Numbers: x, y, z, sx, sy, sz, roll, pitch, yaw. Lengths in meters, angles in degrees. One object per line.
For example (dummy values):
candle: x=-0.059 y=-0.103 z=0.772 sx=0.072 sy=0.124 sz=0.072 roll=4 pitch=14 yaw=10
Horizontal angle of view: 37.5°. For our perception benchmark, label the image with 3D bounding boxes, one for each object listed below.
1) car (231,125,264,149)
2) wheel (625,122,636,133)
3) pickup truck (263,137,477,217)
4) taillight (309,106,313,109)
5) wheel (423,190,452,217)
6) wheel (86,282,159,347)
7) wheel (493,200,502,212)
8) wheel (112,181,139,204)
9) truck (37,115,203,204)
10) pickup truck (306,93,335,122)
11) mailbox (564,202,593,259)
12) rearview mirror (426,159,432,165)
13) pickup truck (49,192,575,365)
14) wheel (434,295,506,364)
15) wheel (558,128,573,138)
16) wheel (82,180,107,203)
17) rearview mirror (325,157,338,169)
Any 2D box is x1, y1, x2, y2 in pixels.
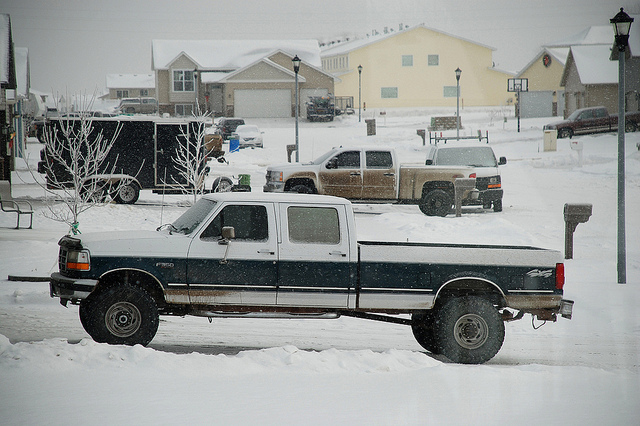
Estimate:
car: x=-4.316 y=-4.659 z=57.605 sx=1.603 sy=1.229 sz=2.250 roll=2 pitch=8 yaw=-9
wheel: x=18.465 y=-5.140 z=56.014 sx=0.550 sy=0.569 sz=0.531 roll=3 pitch=7 yaw=0
pickup truck: x=1.906 y=-1.260 z=32.892 sx=9.703 sy=3.835 sz=3.325 roll=1 pitch=3 yaw=11
taillight: x=-0.685 y=-8.553 z=75.861 sx=0.195 sy=0.122 sz=0.299 roll=-1 pitch=1 yaw=-4
wheel: x=3.971 y=-0.362 z=32.090 sx=0.741 sy=0.859 sz=0.283 roll=-3 pitch=2 yaw=3
wheel: x=-4.068 y=2.087 z=19.440 sx=1.447 sy=1.185 sz=0.354 roll=2 pitch=7 yaw=-11
wheel: x=6.421 y=-0.279 z=34.110 sx=0.361 sy=0.415 sz=0.378 roll=0 pitch=5 yaw=0
wheel: x=-6.902 y=-0.765 z=33.370 sx=0.680 sy=0.784 sz=0.276 roll=0 pitch=9 yaw=-7
truck: x=-6.770 y=-1.481 z=32.393 sx=5.061 sy=3.144 sz=3.134 roll=-1 pitch=10 yaw=-13
pickup truck: x=0.153 y=-8.737 z=77.485 sx=2.065 sy=2.409 sz=3.892 roll=-1 pitch=12 yaw=0
mailbox: x=7.357 y=0.408 z=27.216 sx=0.634 sy=1.793 sz=0.672 roll=2 pitch=-1 yaw=-3
rearview mirror: x=4.030 y=-1.913 z=34.861 sx=0.156 sy=0.219 sz=0.227 roll=1 pitch=2 yaw=4
pickup truck: x=-0.048 y=0.420 z=21.496 sx=11.426 sy=4.015 sz=4.345 roll=2 pitch=31 yaw=-11
wheel: x=3.176 y=2.441 z=19.872 sx=1.304 sy=1.514 sz=0.502 roll=2 pitch=9 yaw=8
wheel: x=15.007 y=-4.918 z=57.568 sx=0.599 sy=0.693 sz=0.188 roll=4 pitch=-3 yaw=-4
wheel: x=-7.468 y=-0.752 z=31.270 sx=0.691 sy=0.786 sz=0.272 roll=-2 pitch=-2 yaw=-25
rearview mirror: x=0.419 y=-1.714 z=31.996 sx=0.334 sy=0.366 sz=0.356 roll=0 pitch=-2 yaw=5
